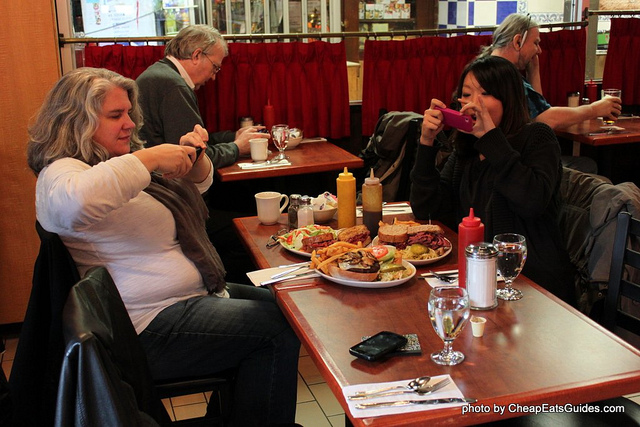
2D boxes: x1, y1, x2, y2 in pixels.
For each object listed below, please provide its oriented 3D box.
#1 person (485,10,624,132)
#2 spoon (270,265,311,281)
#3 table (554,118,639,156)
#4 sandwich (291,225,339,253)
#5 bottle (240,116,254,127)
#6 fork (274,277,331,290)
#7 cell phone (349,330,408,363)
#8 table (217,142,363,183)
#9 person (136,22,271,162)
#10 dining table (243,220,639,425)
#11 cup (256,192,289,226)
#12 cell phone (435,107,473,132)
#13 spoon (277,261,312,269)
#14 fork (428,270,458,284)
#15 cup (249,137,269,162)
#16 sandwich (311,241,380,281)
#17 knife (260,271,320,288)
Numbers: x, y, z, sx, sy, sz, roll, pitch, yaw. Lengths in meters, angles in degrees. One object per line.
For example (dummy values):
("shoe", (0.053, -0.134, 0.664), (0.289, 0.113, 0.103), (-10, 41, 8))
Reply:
("person", (1.960, -1.105, 3.816), (1.355, 0.896, 0.614), (-1, 21, -10))
("spoon", (-0.112, 0.234, 1.794), (0.154, 0.020, 0.018), (-15, 7, -36))
("table", (2.405, -0.701, 3.878), (0.830, 0.152, 0.514), (-16, 18, -34))
("sandwich", (-0.025, 0.094, 1.931), (0.146, 0.055, 0.114), (-6, 10, -16))
("bottle", (-0.590, -0.749, 3.792), (0.097, 0.092, 0.099), (4, 8, 36))
("fork", (-0.054, 0.262, 1.741), (0.240, 0.013, 0.068), (-8, 23, -22))
("cell phone", (0.172, 0.392, 1.345), (0.117, 0.026, 0.208), (5, 16, 40))
("table", (-0.253, -0.401, 3.508), (1.031, 0.172, 0.673), (-9, 15, -12))
("person", (-0.891, -0.865, 3.386), (1.067, 0.865, 0.706), (10, 22, -27))
("dining table", (0.403, 0.354, 1.557), (0.450, 0.397, 0.818), (-6, 21, -16))
("cup", (-0.227, -0.021, 2.317), (0.178, 0.145, 0.112), (-7, 10, -30))
("cell phone", (0.634, -0.448, 2.184), (0.193, 0.108, 0.020), (23, 35, 38))
("spoon", (-0.097, 0.207, 1.856), (0.171, 0.015, 0.018), (-4, 19, -33))
("fork", (0.467, 0.223, 1.707), (0.025, 0.024, 0.165), (-28, 22, -23))
("cup", (-0.440, -0.468, 3.377), (0.184, 0.159, 0.113), (-3, 3, -44))
("sandwich", (0.101, 0.174, 1.724), (0.174, 0.062, 0.143), (6, 7, 25))
("knife", (-0.110, 0.254, 1.753), (0.181, 0.009, 0.043), (-10, 20, -21))
